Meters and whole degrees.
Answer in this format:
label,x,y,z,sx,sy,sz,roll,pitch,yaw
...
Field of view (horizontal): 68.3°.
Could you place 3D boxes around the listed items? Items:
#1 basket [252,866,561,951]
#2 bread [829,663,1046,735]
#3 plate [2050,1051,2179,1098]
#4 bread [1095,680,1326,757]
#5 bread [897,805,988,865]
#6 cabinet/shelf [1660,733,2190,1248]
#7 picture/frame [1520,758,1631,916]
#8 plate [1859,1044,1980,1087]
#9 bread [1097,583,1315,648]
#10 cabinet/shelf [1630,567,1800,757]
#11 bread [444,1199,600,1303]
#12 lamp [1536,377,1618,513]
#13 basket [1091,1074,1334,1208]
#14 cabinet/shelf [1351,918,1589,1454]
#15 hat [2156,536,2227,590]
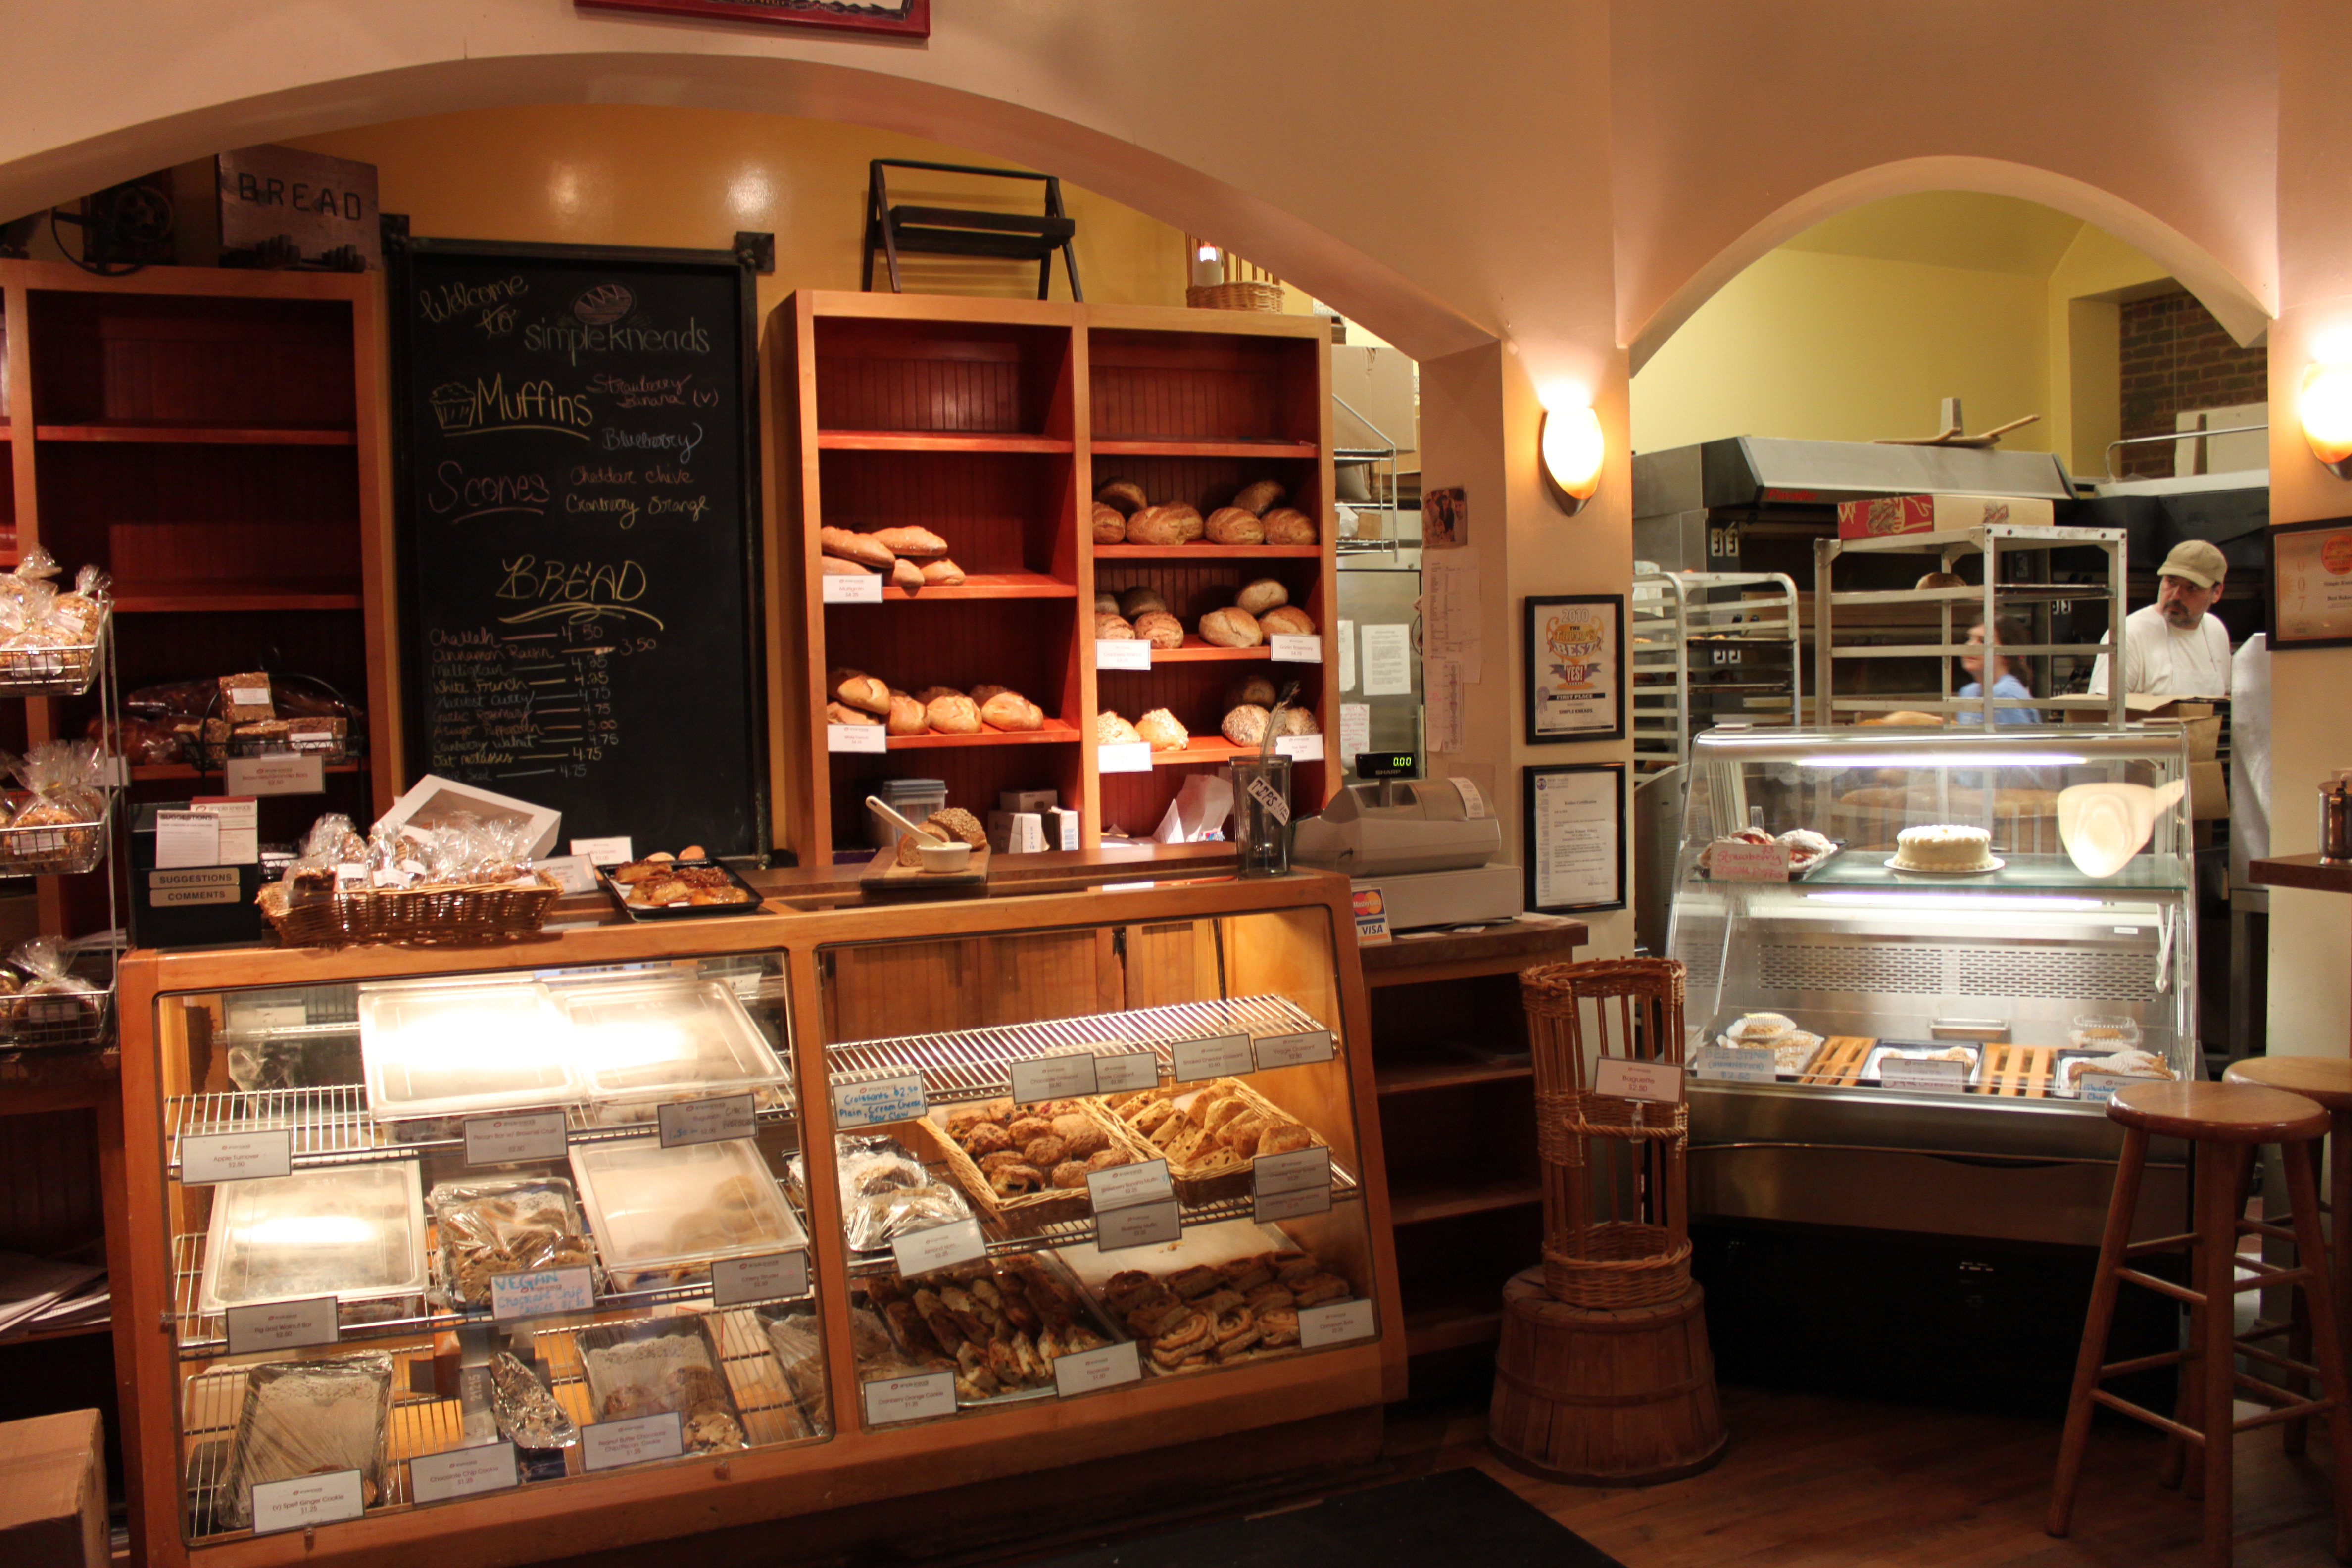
label,x,y,z,sx,sy,sz,roll,pitch,yaw
basket,-1.706,0.281,3.874,0.420,0.113,0.272,0,3,-17
bread,-0.858,-0.304,6.224,0.757,0.257,0.342,-5,5,-14
plate,2.658,0.829,4.954,0.195,0.041,0.173,-1,7,5
bread,0.139,-0.232,6.562,0.834,0.304,0.489,-4,5,-2
bread,-0.597,0.136,4.485,0.173,0.073,0.180,0,3,-34
cabinet/shelf,2.285,0.651,5.136,1.699,1.470,0.848,0,0,19
picture/frame,1.310,0.164,5.723,0.562,0.569,0.043,-3,3,-34
plate,2.226,0.834,5.149,0.320,0.069,0.206,-1,6,22
bread,0.119,-0.640,6.557,0.838,0.260,0.452,-4,5,-5
cabinet/shelf,2.627,-0.593,8.353,0.817,0.965,1.779,-2,5,19
bread,-1.497,1.030,3.919,0.308,0.195,0.135,-6,5,-21
lamp,1.320,-1.114,5.658,0.258,0.438,0.090,-7,5,-28
basket,0.095,0.895,4.421,0.392,0.102,0.371,-10,17,-39
cabinet/shelf,0.923,1.103,5.202,0.712,1.396,0.417,-5,5,-7
hat,4.571,-0.986,7.751,0.247,0.191,0.358,9,5,39
